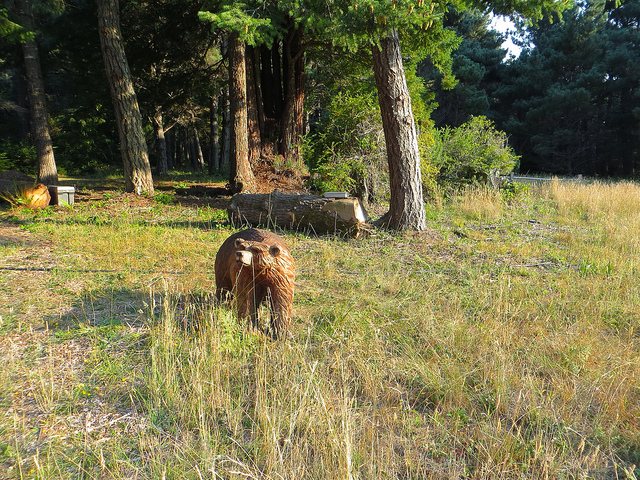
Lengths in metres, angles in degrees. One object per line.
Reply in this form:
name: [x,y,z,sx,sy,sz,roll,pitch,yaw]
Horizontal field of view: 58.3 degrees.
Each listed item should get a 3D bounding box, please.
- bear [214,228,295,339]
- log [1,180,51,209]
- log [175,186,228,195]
bear: [-1.040,0.633,8.943,1.229,1.533,0.700,2,6,27]
log: [-7.651,-1.231,14.900,1.466,0.704,0.751,4,8,34]
log: [-3.608,-1.496,17.257,2.121,0.175,1.274,6,11,43]
